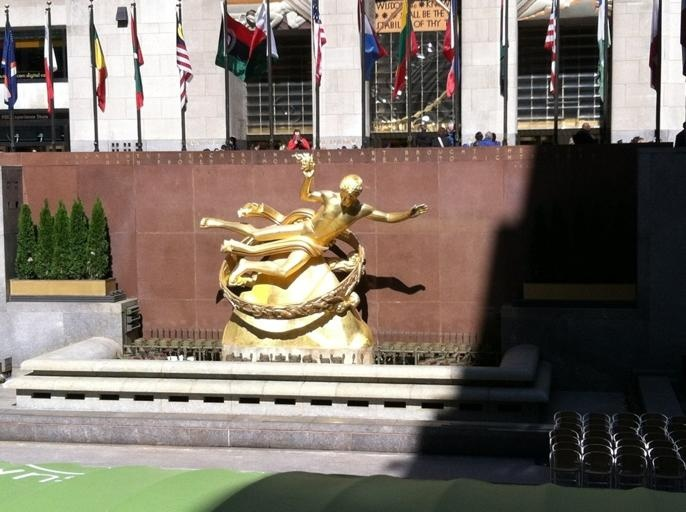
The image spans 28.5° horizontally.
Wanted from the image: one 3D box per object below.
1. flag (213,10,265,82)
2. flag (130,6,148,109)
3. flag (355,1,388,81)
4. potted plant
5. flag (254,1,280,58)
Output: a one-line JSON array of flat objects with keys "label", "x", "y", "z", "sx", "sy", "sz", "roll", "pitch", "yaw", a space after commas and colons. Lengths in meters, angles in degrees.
[{"label": "flag", "x": -2.778, "y": -5.841, "z": 37.160, "sx": 1.382, "sy": 2.050, "sz": 0.156, "roll": 0, "pitch": -12, "yaw": 9}, {"label": "flag", "x": -5.761, "y": -5.453, "z": 38.024, "sx": 0.344, "sy": 6.277, "sz": 0.391, "roll": -2, "pitch": 6, "yaw": -32}, {"label": "flag", "x": 0.770, "y": -5.917, "z": 36.844, "sx": 0.683, "sy": 2.192, "sz": 1.603, "roll": 0, "pitch": 5, "yaw": 0}, {"label": "potted plant", "x": -7.185, "y": -0.184, "z": 34.753, "sx": 2.541, "sy": 2.533, "sz": 1.187, "roll": -1, "pitch": 5, "yaw": -11}, {"label": "flag", "x": -2.050, "y": -6.121, "z": 36.488, "sx": 0.547, "sy": 1.467, "sz": 1.860, "roll": 0, "pitch": 5, "yaw": -3}]
